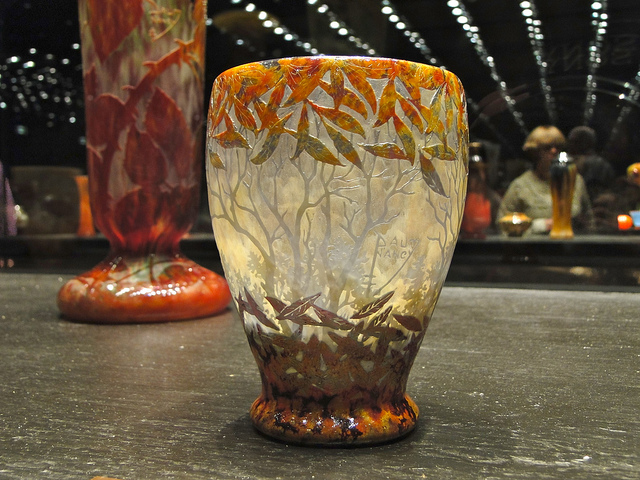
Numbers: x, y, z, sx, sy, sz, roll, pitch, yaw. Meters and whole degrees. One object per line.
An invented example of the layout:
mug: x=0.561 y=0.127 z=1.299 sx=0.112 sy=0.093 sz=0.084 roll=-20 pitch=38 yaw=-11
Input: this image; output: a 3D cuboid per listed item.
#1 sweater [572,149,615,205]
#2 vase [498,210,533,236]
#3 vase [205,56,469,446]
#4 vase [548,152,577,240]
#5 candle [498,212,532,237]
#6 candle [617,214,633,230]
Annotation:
sweater: x=0.960 y=-0.226 z=2.699 sx=0.140 sy=0.179 sz=0.102 roll=4 pitch=12 yaw=20
vase: x=0.596 y=-0.050 z=2.332 sx=0.111 sy=0.102 sz=0.127 roll=1 pitch=7 yaw=4
vase: x=0.022 y=-0.005 z=0.956 sx=0.351 sy=0.586 sz=0.331 roll=0 pitch=0 yaw=-3
vase: x=0.663 y=-0.119 z=2.101 sx=0.071 sy=0.239 sz=0.197 roll=3 pitch=12 yaw=17
candle: x=0.584 y=-0.045 z=2.295 sx=0.081 sy=0.065 sz=0.095 roll=11 pitch=16 yaw=43
candle: x=0.927 y=-0.063 z=2.335 sx=0.040 sy=0.053 sz=0.041 roll=9 pitch=12 yaw=42
